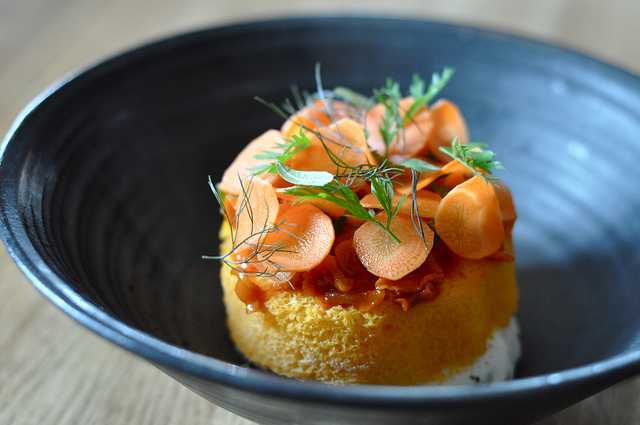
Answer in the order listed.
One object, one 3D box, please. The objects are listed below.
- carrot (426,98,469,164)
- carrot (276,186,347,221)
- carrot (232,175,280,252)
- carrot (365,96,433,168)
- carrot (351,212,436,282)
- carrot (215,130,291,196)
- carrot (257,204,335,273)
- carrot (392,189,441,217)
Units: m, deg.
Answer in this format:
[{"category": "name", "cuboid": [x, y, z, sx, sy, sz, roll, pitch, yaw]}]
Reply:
[{"category": "carrot", "cuboid": [0.328, -0.212, 1.568, 0.153, 0.046, 0.190, 22, 52, -30]}, {"category": "carrot", "cuboid": [-0.015, -0.005, 1.302, 0.099, 0.095, 0.032, 18, 91, 35]}, {"category": "carrot", "cuboid": [-0.143, 0.003, 1.301, 0.119, 0.035, 0.164, 20, 98, 33]}, {"category": "carrot", "cuboid": [0.217, -0.207, 1.486, 0.197, 0.055, 0.173, -39, 69, -12]}, {"category": "carrot", "cuboid": [0.169, 0.066, 1.279, 0.174, 0.054, 0.150, -34, 78, -7]}, {"category": "carrot", "cuboid": [-0.152, -0.127, 1.465, 0.203, 0.033, 0.135, -46, 34, -23]}, {"category": "carrot", "cuboid": [-0.041, 0.058, 1.287, 0.134, 0.023, 0.162, 33, 79, 9]}, {"category": "carrot", "cuboid": [0.247, -0.031, 1.345, 0.020, 0.101, 0.073, -8, 83, -22]}]
